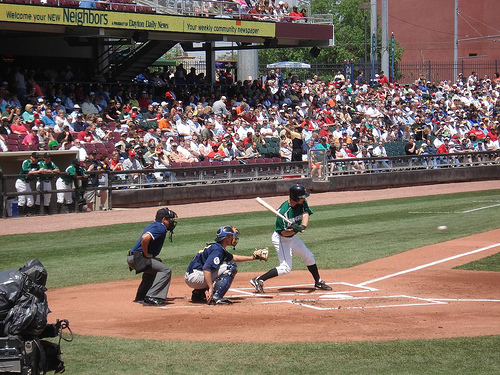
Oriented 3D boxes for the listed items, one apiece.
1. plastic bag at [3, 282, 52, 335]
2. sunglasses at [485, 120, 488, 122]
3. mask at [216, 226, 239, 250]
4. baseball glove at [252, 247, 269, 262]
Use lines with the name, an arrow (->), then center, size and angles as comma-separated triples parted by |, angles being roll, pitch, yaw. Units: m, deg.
plastic bag -> -5.387, 3.008, 25.855 | 1.182, 0.964, 0.504 | -18, -7, -21
sunglasses -> 11.179, -3.264, 51.031 | 0.054, 0.080, 0.294 | 0, 1, 28
mask -> -0.578, 1.253, 29.424 | 0.606, 0.632, 0.524 | -13, 16, -22
baseball glove -> 0.233, 1.790, 29.367 | 0.391, 0.221, 0.309 | -11, 2, 35
